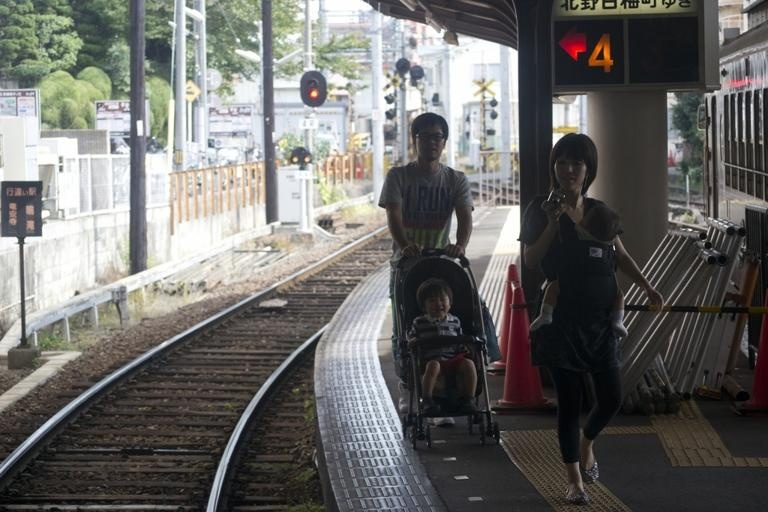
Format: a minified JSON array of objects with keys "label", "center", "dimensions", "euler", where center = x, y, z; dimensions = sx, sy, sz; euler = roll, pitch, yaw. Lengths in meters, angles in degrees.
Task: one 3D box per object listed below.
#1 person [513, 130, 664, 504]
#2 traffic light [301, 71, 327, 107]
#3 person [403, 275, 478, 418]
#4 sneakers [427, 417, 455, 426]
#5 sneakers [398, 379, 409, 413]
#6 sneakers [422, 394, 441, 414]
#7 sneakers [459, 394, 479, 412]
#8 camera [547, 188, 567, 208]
[{"label":"person","center":[1.467,0.459,5.414],"dimensions":[0.823,2.733,0.428],"euler":[-2,5,11]},{"label":"traffic light","center":[-2.447,-5.822,24.857],"dimensions":[0.814,1.245,0.717],"euler":[-3,6,1]},{"label":"person","center":[0.526,0.798,6.510],"dimensions":[0.613,1.160,0.412],"euler":[-2,5,6]},{"label":"sneakers","center":[0.560,1.609,6.960],"dimensions":[0.208,0.103,0.151],"euler":[0,-3,15]},{"label":"sneakers","center":[0.191,1.423,7.261],"dimensions":[0.115,0.109,0.394],"euler":[25,23,-8]},{"label":"sneakers","center":[0.412,1.351,6.480],"dimensions":[0.078,0.180,0.230],"euler":[1,-12,-18]},{"label":"sneakers","center":[0.747,1.328,6.431],"dimensions":[0.167,0.142,0.132],"euler":[-3,6,-1]},{"label":"camera","center":[1.266,-0.431,5.320],"dimensions":[0.090,0.070,0.146],"euler":[-1,21,0]}]
